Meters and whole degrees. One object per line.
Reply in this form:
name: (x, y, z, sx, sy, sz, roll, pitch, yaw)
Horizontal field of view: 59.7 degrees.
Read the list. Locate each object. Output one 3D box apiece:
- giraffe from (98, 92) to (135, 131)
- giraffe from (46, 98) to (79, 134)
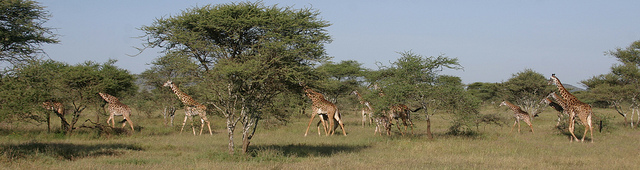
giraffe: (-47.353, 6.666, 130.510, 6.793, 8.398, 9.015, 1, -13, -13)
giraffe: (-59.497, 6.862, 129.671, 8.277, 9.099, 4.479, 3, -2, 7)
